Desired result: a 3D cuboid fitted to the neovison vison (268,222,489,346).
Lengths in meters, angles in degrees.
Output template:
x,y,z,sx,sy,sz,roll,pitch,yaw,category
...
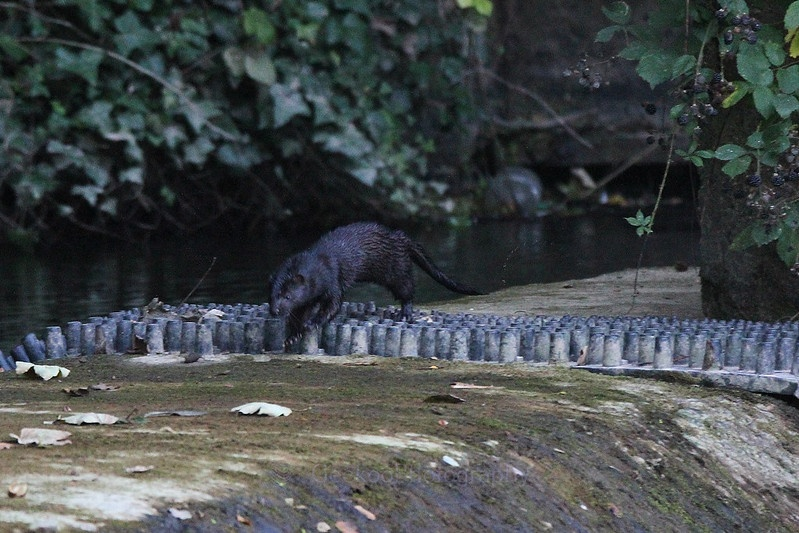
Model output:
x,y,z,sx,sy,sz,roll,pitch,yaw,category
-0.275,0.072,13.225,2.676,0.983,0.782,-21,22,-41,neovison vison
